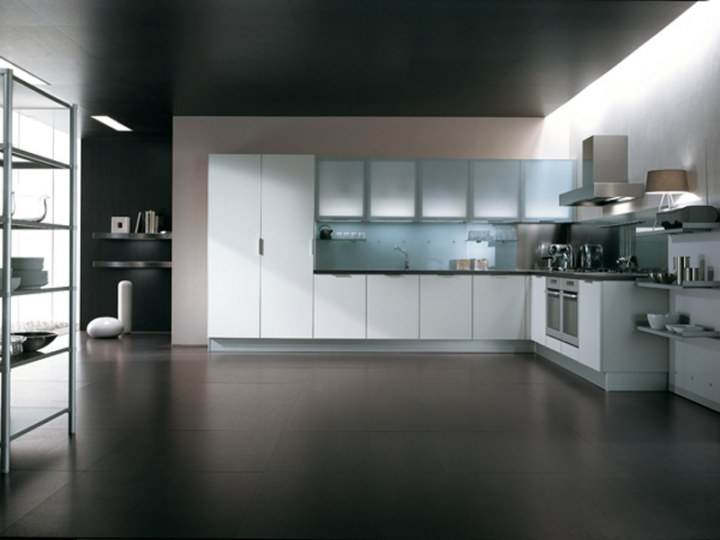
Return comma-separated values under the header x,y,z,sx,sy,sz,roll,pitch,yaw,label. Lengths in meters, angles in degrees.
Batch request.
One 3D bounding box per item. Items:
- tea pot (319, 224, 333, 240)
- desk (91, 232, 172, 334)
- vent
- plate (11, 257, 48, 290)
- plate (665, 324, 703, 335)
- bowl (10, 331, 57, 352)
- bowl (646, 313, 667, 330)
x,y,z,sx,sy,sz,roll,pitch,yaw,label
-0.444,-0.493,7.624,0.176,0.183,0.138,0,-3,8,tea pot
-3.315,0.071,9.056,1.449,1.352,0.438,1,8,16,desk
2.599,-1.057,6.375,0.607,0.788,1.217,1,-1,-4,vent
-2.312,0.031,4.130,0.214,0.167,0.219,-1,-3,4,plate
2.789,0.532,5.025,0.279,0.064,0.304,4,8,31,plate
-2.324,0.525,4.193,0.270,0.161,0.230,-3,8,-28,bowl
2.693,0.479,5.295,0.137,0.101,0.147,1,-8,0,bowl
